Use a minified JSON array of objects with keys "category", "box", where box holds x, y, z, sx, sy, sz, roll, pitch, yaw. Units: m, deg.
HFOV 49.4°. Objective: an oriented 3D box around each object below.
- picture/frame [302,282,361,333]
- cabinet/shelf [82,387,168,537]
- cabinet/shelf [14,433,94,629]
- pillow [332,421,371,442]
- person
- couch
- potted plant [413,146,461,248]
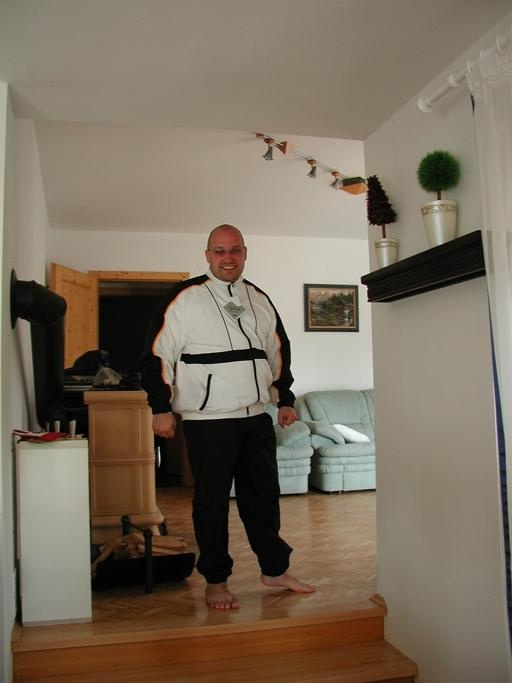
[{"category":"picture/frame","box":[0.852,-0.392,6.539,0.608,0.493,0.045,2,-1,-12]},{"category":"cabinet/shelf","box":[-0.820,0.796,4.003,0.518,0.892,0.907,-2,-2,1]},{"category":"cabinet/shelf","box":[-0.745,0.709,2.055,0.267,0.751,0.694,2,-2,-18]},{"category":"pillow","box":[0.978,0.908,5.486,0.214,0.064,0.210,20,8,-34]},{"category":"person","box":[-0.098,0.341,2.338,0.746,1.625,0.554,3,10,-13]},{"category":"couch","box":[0.963,0.984,5.729,1.015,0.935,0.964,1,-7,-14]},{"category":"potted plant","box":[0.580,-0.463,1.779,0.141,0.323,0.253,10,10,26]}]
